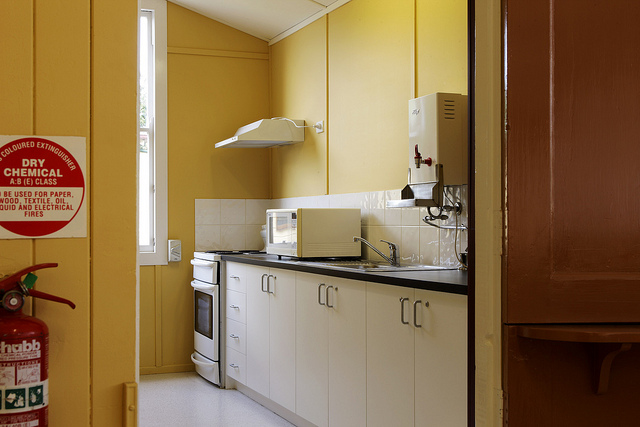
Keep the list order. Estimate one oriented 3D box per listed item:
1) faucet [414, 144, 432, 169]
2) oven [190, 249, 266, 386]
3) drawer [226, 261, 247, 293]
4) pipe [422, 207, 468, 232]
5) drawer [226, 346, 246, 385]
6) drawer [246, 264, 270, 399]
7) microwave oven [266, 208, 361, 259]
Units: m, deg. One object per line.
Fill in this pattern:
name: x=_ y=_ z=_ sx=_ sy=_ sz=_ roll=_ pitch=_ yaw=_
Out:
faucet: x=0.643 y=-0.356 z=3.278 sx=0.102 sy=0.136 sz=0.073 roll=0 pitch=4 yaw=10
oven: x=-0.836 y=0.929 z=5.055 sx=0.683 sy=1.161 sz=0.793 roll=-2 pitch=-3 yaw=44
drawer: x=-0.655 y=0.541 z=4.479 sx=0.256 sy=0.256 sz=0.166 roll=5 pitch=3 yaw=40
pipe: x=0.790 y=0.023 z=3.375 sx=0.235 sy=0.145 sz=0.331 roll=0 pitch=4 yaw=6
drawer: x=-0.708 y=1.270 z=4.464 sx=0.206 sy=0.248 sz=0.333 roll=3 pitch=-1 yaw=-27
drawer: x=-0.488 y=0.894 z=4.134 sx=0.067 sy=0.992 sz=0.396 roll=-3 pitch=4 yaw=-30
microwave oven: x=-0.056 y=0.145 z=4.163 sx=0.493 sy=0.427 sz=0.619 roll=0 pitch=0 yaw=-28
